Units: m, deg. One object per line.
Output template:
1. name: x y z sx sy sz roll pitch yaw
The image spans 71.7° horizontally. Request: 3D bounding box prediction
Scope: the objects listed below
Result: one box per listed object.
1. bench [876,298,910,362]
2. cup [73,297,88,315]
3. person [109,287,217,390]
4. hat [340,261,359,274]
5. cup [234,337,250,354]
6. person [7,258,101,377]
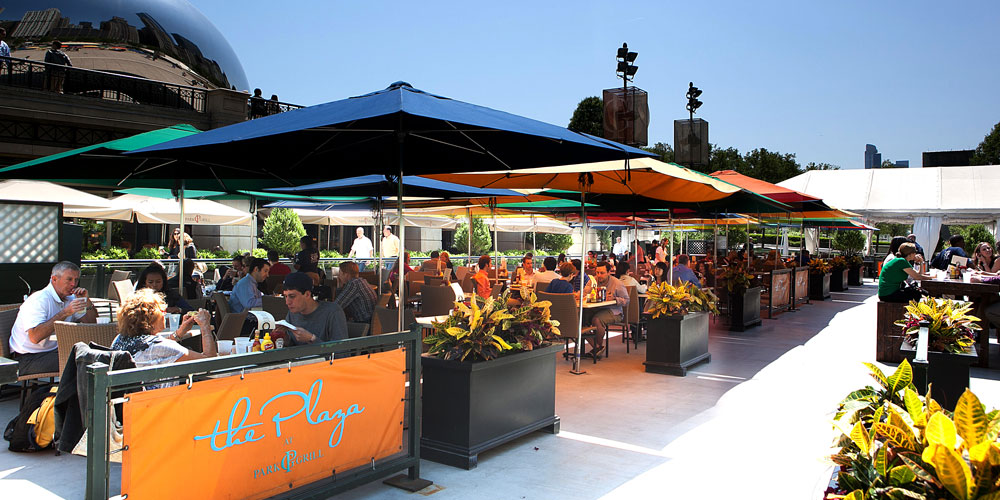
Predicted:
1. bench: 9.743 1.994 17.141 0.960 1.620 1.844 -1 -2 35
2. cup: -8.372 1.130 13.937 0.276 0.354 0.519 -3 3 -31
3. person: -6.053 1.353 12.358 1.542 1.317 0.851 -3 3 -27
4. hat: -3.701 0.428 17.108 0.428 0.336 0.321 -4 18 -9
5. cup: -4.754 1.766 12.842 0.364 0.237 0.344 0 -8 0
6. person: -9.082 1.385 13.934 1.730 2.228 0.614 -2 3 -4
